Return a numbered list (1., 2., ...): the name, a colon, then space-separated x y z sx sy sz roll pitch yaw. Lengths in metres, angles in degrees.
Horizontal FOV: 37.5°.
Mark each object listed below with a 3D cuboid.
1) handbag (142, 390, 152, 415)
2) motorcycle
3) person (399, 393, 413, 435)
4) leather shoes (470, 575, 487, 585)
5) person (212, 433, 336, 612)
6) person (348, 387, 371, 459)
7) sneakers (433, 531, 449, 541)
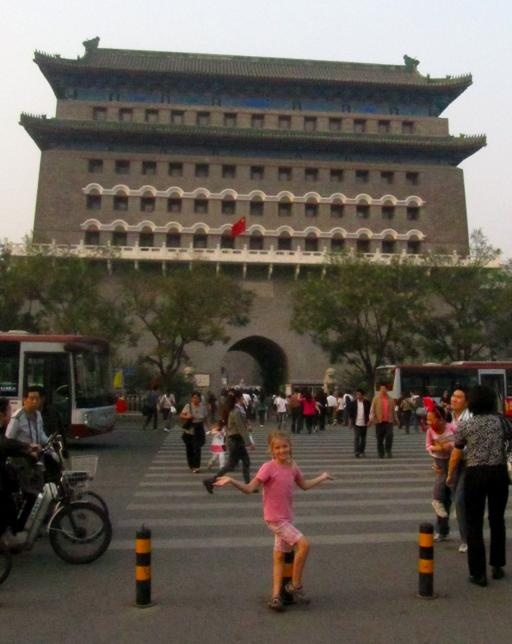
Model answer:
1. handbag: -3.656 2.819 25.826 0.450 0.929 1.146 2 -3 -12
2. motorcycle: -1.808 1.816 7.324 1.390 0.909 0.758 -1 0 -6
3. person: 5.575 3.389 27.842 0.482 1.320 2.331 1 -3 11
4. leather shoes: 1.942 2.244 6.559 0.058 0.075 0.163 2 -1 0
5. person: 0.197 1.552 5.930 0.731 1.358 0.503 1 -4 5
6. person: 2.399 2.297 17.270 0.440 1.559 1.878 1 -3 7
7. sneakers: 2.083 2.398 8.384 0.211 0.090 0.071 15 -19 -32
